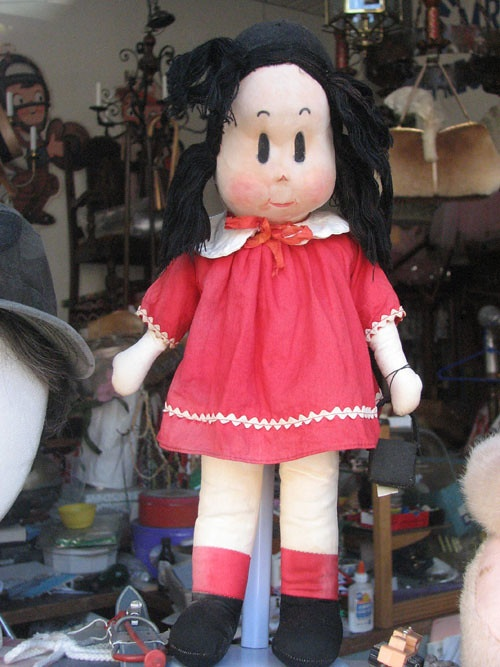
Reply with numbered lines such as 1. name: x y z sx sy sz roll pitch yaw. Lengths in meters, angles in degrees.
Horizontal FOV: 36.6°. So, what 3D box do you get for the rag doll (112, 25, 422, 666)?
1. rag doll: 0.026 -0.008 1.328 0.537 1.070 0.357 -5 7 -10
